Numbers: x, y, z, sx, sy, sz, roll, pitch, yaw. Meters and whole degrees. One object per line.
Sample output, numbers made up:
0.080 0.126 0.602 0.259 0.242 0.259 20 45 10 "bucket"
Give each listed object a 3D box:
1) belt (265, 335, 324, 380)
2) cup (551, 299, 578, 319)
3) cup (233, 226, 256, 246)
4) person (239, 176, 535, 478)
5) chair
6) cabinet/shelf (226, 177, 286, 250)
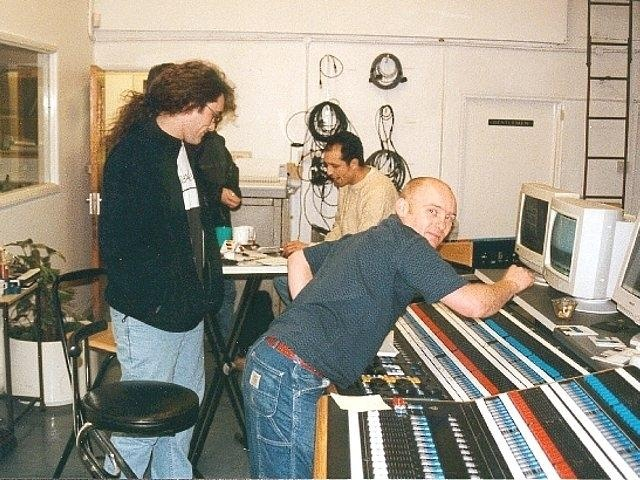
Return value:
-0.079 0.382 1.762 0.163 0.039 0.123 41 -12 -14 "belt"
1.150 0.315 2.452 0.100 0.074 0.096 1 12 0 "cup"
-0.514 -0.030 3.604 0.143 0.103 0.110 2 0 -5 "cup"
0.163 0.293 1.916 0.890 1.018 0.490 -4 12 -16 "person"
-0.854 0.615 2.250 0.434 0.902 0.947 -8 14 -33 "chair"
-0.515 -0.286 5.349 0.661 0.859 0.606 1 10 0 "cabinet/shelf"
